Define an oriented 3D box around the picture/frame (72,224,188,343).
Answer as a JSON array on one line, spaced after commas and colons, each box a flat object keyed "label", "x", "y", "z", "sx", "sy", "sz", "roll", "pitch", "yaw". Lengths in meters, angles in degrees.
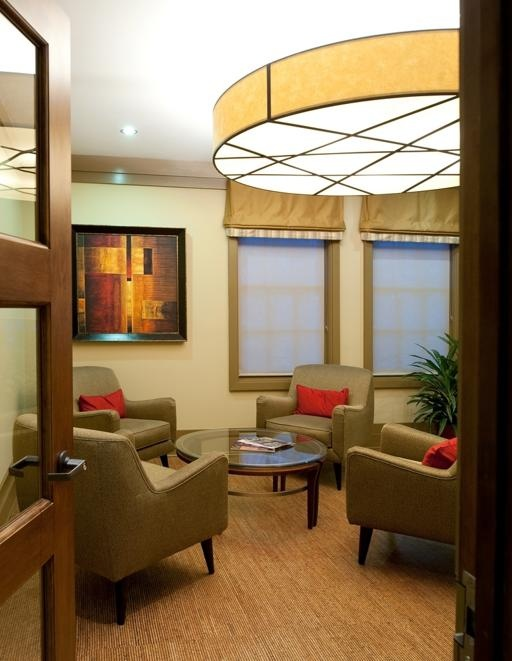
[{"label": "picture/frame", "x": -1.098, "y": -0.382, "z": 4.668, "sx": 0.910, "sy": 1.031, "sz": 0.071, "roll": 1, "pitch": -2, "yaw": -12}]
